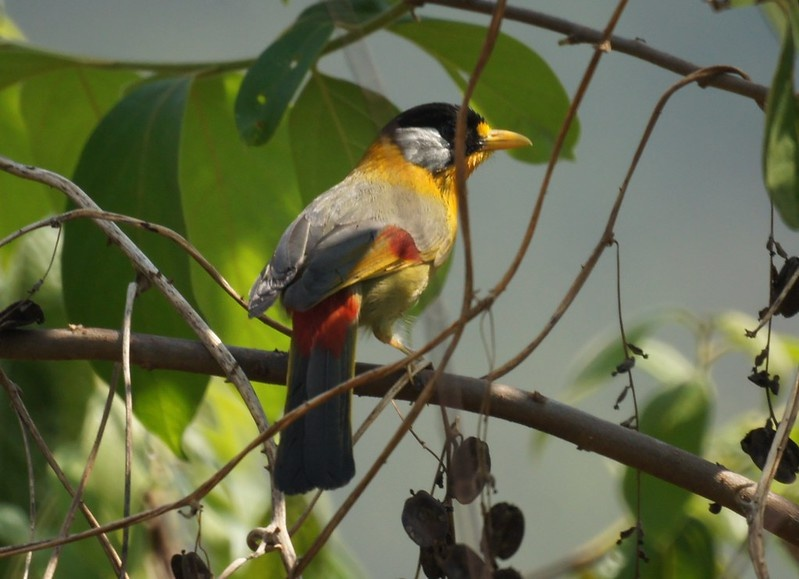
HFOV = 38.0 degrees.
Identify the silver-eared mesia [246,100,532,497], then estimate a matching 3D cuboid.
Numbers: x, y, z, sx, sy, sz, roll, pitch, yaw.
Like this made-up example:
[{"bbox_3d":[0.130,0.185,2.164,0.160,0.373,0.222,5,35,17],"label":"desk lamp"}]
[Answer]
[{"bbox_3d":[-0.142,-0.077,4.847,0.538,0.994,2.102,-6,17,42],"label":"silver-eared mesia"}]
